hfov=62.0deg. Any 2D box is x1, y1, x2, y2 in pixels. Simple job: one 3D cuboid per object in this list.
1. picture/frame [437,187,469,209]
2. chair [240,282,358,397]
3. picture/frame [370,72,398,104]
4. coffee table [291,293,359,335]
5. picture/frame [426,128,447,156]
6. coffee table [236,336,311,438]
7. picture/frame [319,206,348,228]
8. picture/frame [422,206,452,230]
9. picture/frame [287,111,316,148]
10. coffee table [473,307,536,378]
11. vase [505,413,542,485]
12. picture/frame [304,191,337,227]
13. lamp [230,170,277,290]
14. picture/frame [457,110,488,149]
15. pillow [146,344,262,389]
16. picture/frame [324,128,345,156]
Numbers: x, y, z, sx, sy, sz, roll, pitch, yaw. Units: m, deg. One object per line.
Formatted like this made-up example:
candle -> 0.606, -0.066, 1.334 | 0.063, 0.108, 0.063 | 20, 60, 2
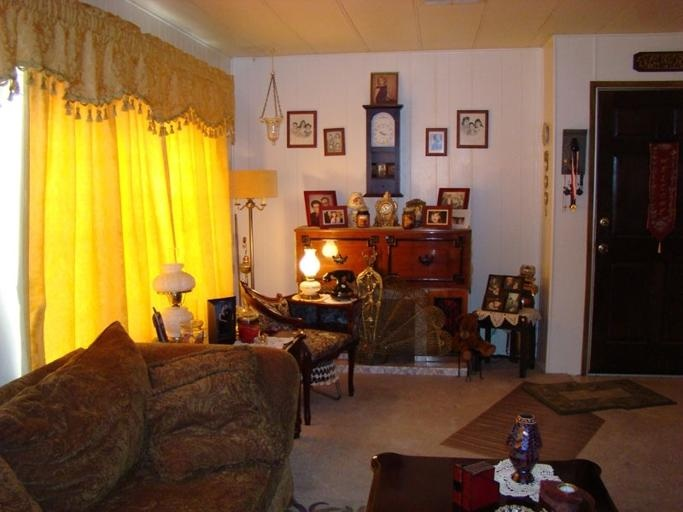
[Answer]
picture/frame -> 1.129, -0.588, 5.717 | 0.321, 0.197, 0.204 | 2, 12, 10
chair -> -0.372, 0.712, 4.761 | 0.791, 1.140, 0.803 | -8, 3, 21
picture/frame -> 0.440, -1.697, 5.728 | 0.289, 0.373, 0.035 | 0, -2, -1
coffee table -> -0.189, 0.533, 5.058 | 0.577, 0.391, 0.356 | 1, 17, 1
picture/frame -> 0.967, -1.168, 5.759 | 0.253, 0.353, 0.022 | 0, 3, 1
coffee table -> -0.577, 0.979, 4.218 | 0.693, 0.690, 0.588 | -4, -8, 11
picture/frame -> -0.082, -0.394, 5.656 | 0.194, 0.178, 0.021 | 0, -3, -1
picture/frame -> 0.928, -0.371, 5.459 | 0.207, 0.200, 0.015 | 1, -9, 5
picture/frame -> -0.415, -1.329, 5.937 | 0.319, 0.398, 0.020 | 0, -8, -3
coffee table -> 1.620, 0.836, 5.632 | 0.603, 0.657, 0.593 | 0, 1, 24
vase -> 0.922, 0.952, 2.865 | 0.167, 0.338, 0.139 | 1, 11, 6
picture/frame -> -0.206, -0.492, 5.841 | 0.335, 0.426, 0.036 | -3, -25, -3
lamp -> -0.878, -0.250, 5.809 | 0.436, 1.281, 0.743 | -2, 11, -8
picture/frame -> 1.325, -1.292, 5.709 | 0.345, 0.439, 0.031 | 0, 4, 0
pillow -> -0.752, 0.591, 3.099 | 0.415, 0.118, 0.259 | -12, 43, -6
picture/frame -> -0.064, -1.199, 5.882 | 0.254, 0.341, 0.023 | 0, 6, 8
